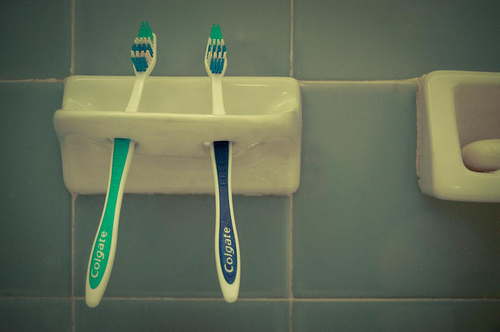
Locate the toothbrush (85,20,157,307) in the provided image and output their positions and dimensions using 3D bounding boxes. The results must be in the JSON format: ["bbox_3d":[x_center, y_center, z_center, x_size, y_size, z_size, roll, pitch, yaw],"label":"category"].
[{"bbox_3d":[-0.267,0.046,1.348,0.081,0.834,0.072,7,-8,-10],"label":"toothbrush"}]

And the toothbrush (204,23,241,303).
[{"bbox_3d":[-0.056,0.006,1.290,0.061,0.635,0.055,-2,-5,-5],"label":"toothbrush"}]
